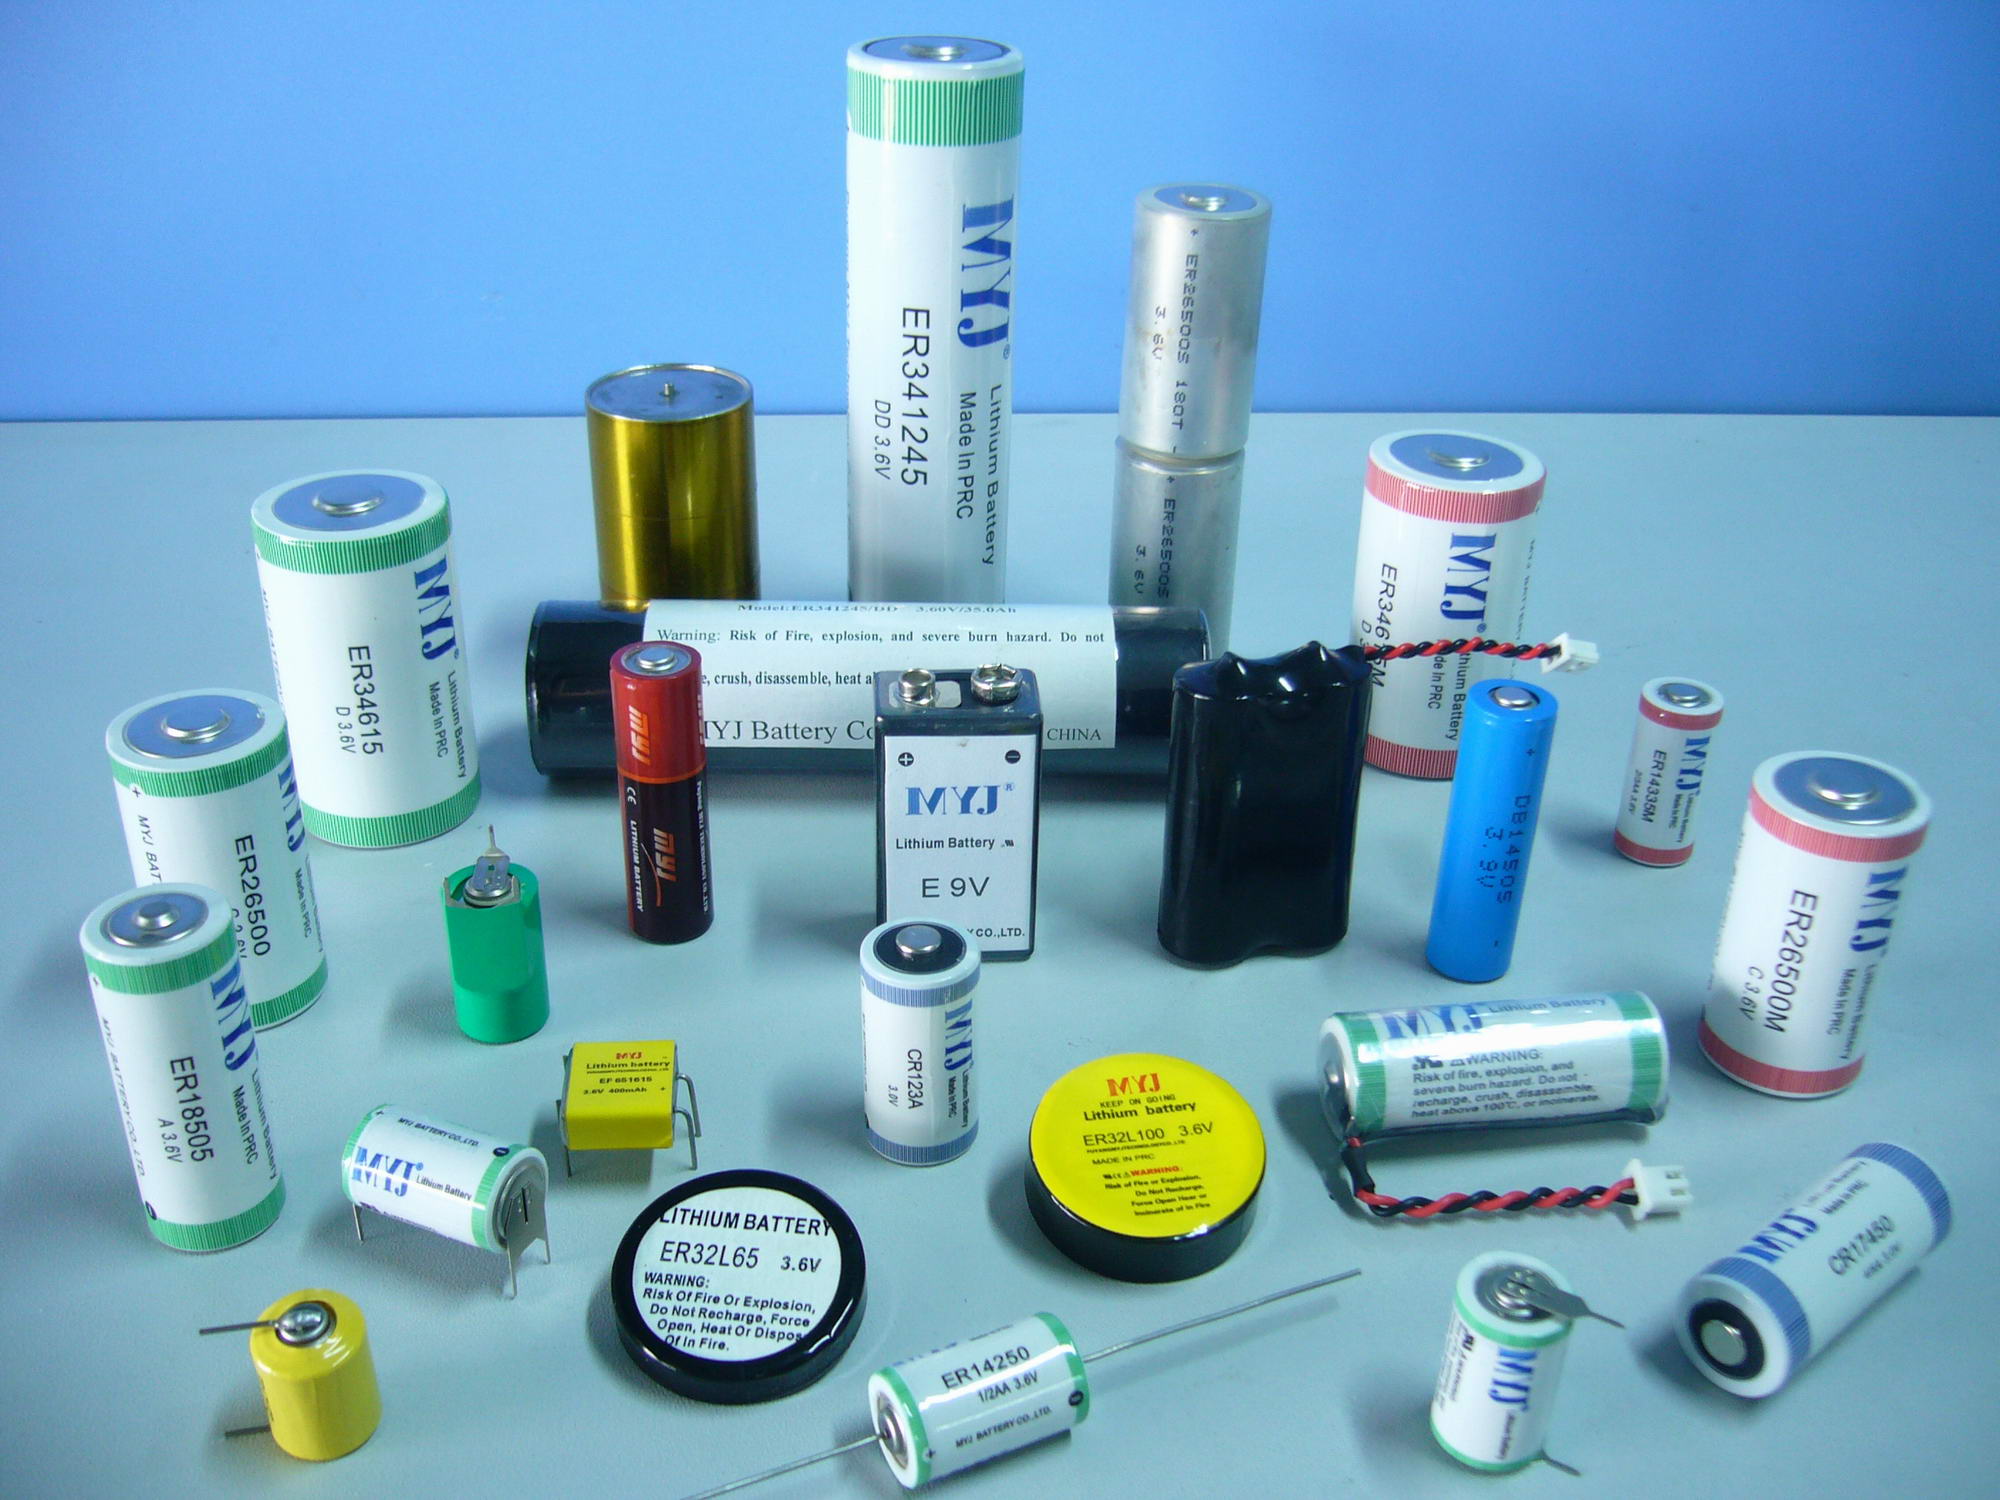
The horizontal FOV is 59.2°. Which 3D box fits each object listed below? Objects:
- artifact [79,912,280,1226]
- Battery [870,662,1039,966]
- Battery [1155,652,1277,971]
[{"bbox_3d":[-1.104,0.435,2.392,0.180,0.478,0.176,-12,27,-29],"label":"artifact"},{"bbox_3d":[-0.073,0.068,2.880,0.263,0.492,0.246,-1,35,-4],"label":"Battery"},{"bbox_3d":[0.348,0.117,2.851,0.169,0.427,0.144,-1,4,-35],"label":"Battery"}]
